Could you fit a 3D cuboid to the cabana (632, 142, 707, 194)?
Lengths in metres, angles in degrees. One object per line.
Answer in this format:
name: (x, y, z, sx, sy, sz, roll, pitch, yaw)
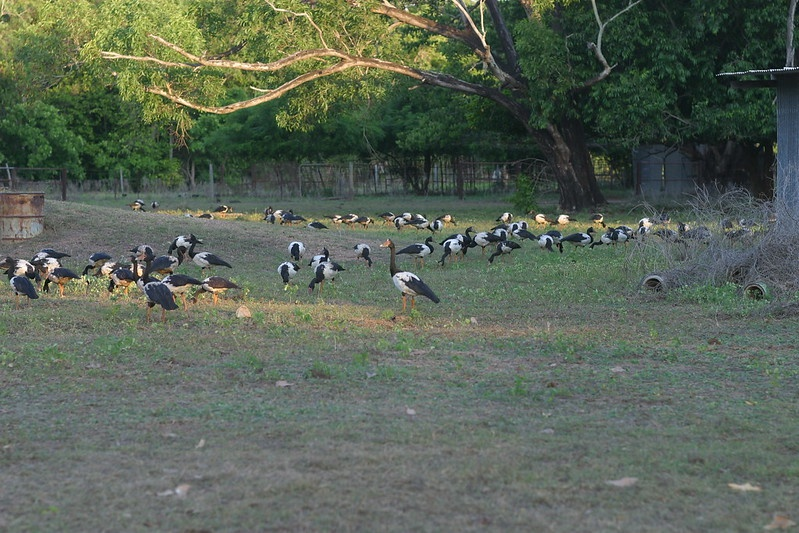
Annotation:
cabana: (13.592, -4.914, 63.955, 4.466, 2.882, 2.294, -3, 2, -22)
